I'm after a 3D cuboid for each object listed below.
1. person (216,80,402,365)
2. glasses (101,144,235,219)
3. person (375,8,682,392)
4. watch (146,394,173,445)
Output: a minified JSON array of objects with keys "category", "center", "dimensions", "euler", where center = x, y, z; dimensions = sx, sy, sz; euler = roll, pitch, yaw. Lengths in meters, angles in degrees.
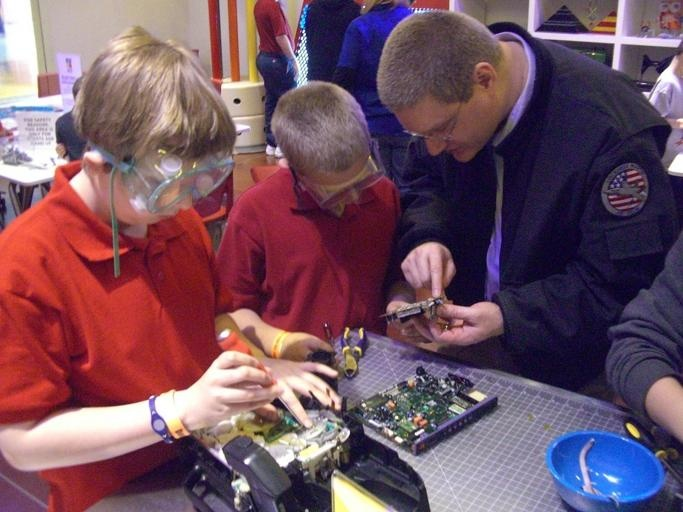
[{"category":"person","center":[-0.142,-0.075,2.327],"dimensions":[0.658,1.161,0.716],"euler":[-13,31,-29]},{"category":"glasses","center":[-0.431,-0.201,1.356],"dimensions":[0.304,0.156,0.107],"euler":[-14,24,-21]},{"category":"person","center":[0.729,-0.015,2.446],"dimensions":[0.966,1.927,1.110],"euler":[14,27,23]},{"category":"watch","center":[-0.471,0.426,1.409],"dimensions":[0.061,0.121,0.116],"euler":[3,3,-16]}]
